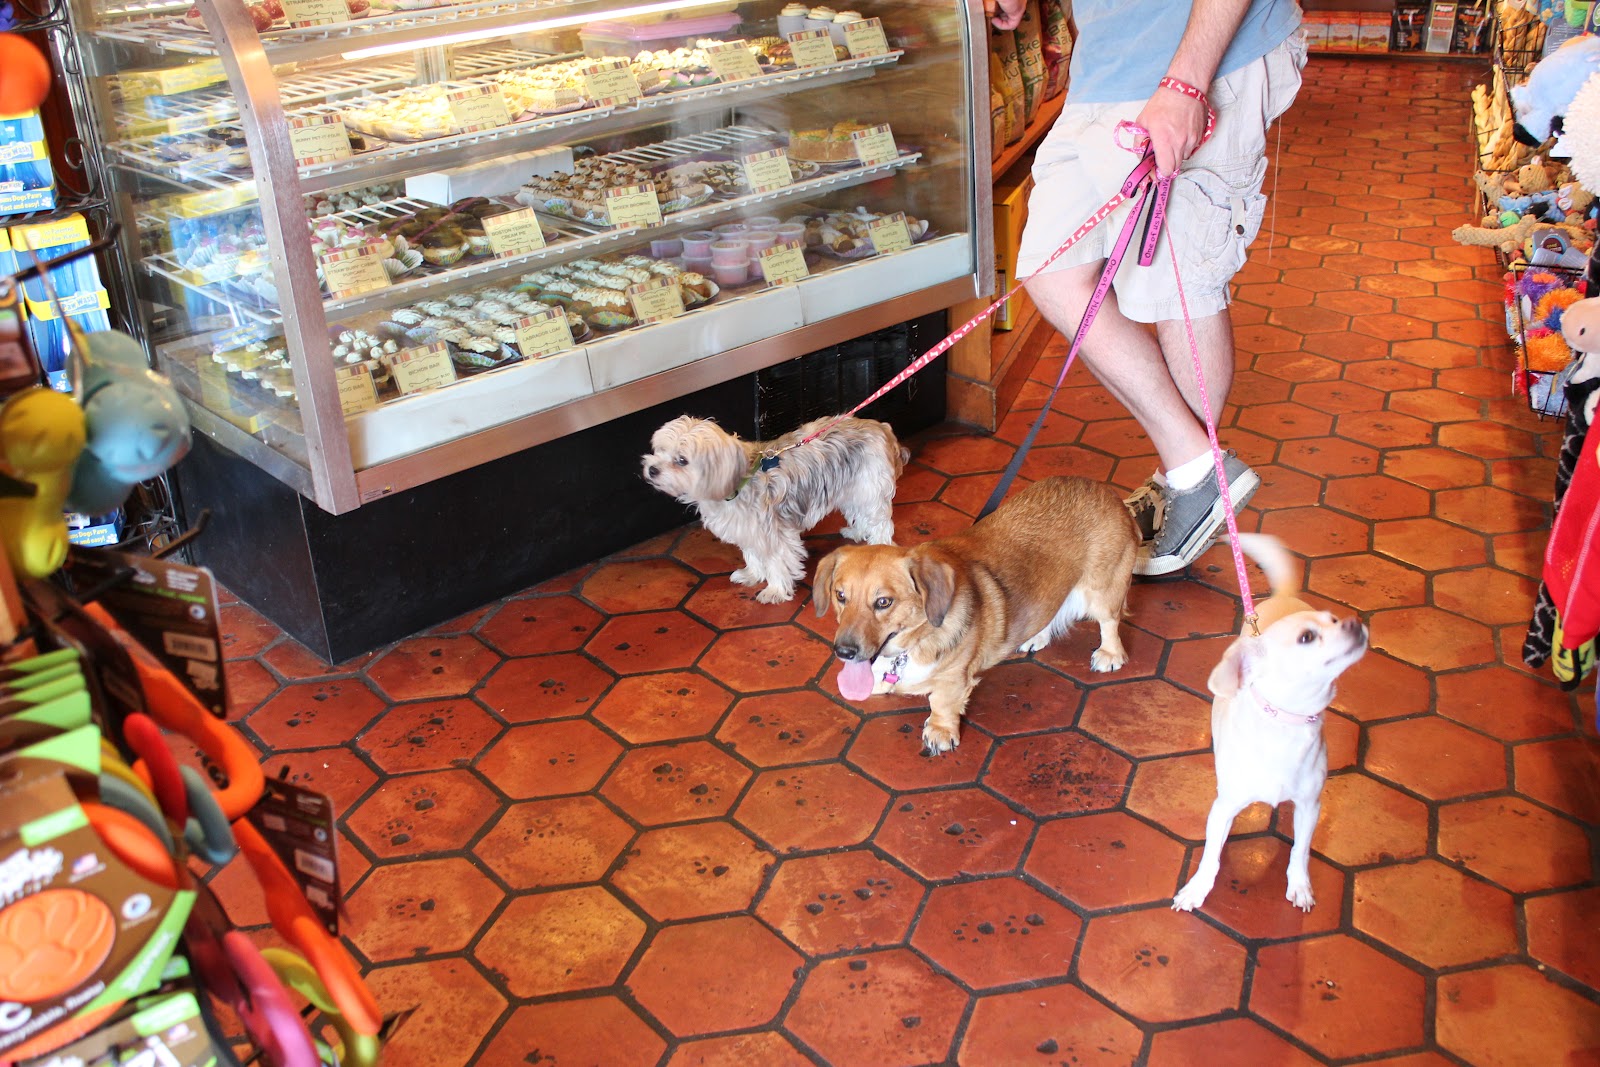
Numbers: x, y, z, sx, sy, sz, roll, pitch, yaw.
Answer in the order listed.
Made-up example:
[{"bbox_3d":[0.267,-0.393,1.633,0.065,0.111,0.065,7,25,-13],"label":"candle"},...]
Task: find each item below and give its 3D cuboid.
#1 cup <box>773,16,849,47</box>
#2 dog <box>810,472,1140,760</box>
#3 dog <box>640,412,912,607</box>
[{"bbox_3d":[0.058,-1.979,4.187,0.235,0.157,0.126,-2,37,-3],"label":"cup"},{"bbox_3d":[0.616,0.220,3.514,1.383,0.732,0.510,-25,34,-31],"label":"dog"},{"bbox_3d":[-0.035,-0.154,4.084,1.120,0.683,0.337,-15,24,-29],"label":"dog"}]
